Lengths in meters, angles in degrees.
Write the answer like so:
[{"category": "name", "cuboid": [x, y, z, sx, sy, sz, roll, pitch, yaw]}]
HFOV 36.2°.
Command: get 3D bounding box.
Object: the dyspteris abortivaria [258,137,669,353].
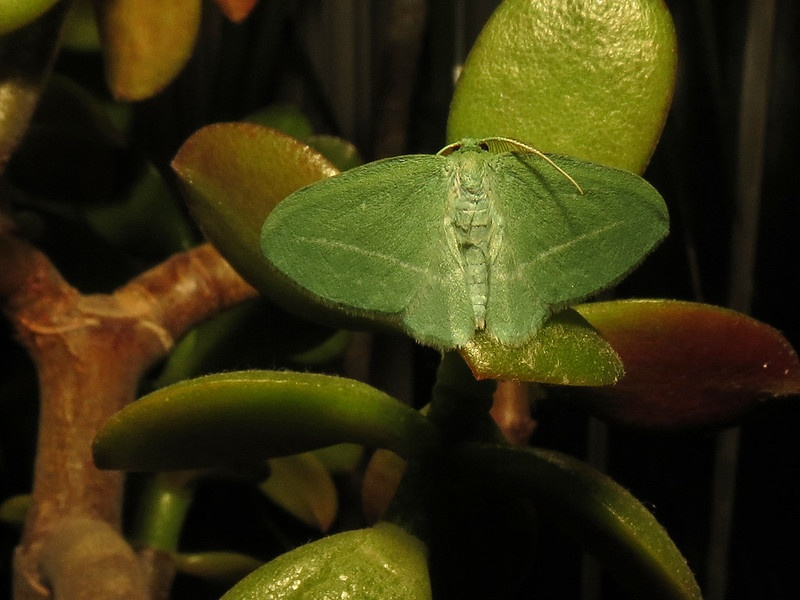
[{"category": "dyspteris abortivaria", "cuboid": [0.056, -0.048, 1.031, 0.378, 0.212, 0.030, 0, 2, 0]}]
